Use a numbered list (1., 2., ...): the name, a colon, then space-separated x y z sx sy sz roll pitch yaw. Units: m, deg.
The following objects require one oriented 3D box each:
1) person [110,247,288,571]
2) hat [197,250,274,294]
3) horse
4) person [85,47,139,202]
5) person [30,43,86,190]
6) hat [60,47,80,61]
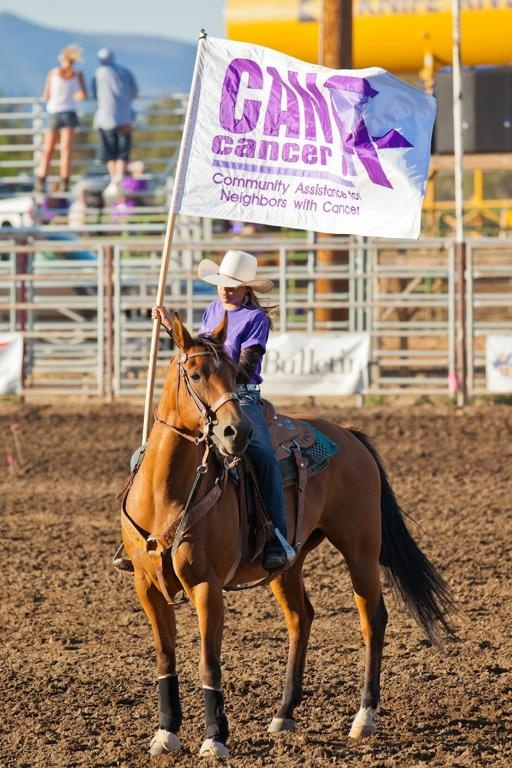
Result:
1. person: -0.149 0.126 8.535 0.604 1.797 0.654 1 11 16
2. hat: -0.108 -0.642 8.582 0.276 0.153 0.305 22 3 6
3. horse: 0.125 0.917 8.629 0.638 2.573 3.313 1 -3 45
4. person: -1.742 -3.310 18.582 0.540 1.868 1.124 -1 9 -4
5. person: -2.171 -2.992 16.472 0.577 1.546 1.301 -2 9 -8
6. hat: -2.021 -3.624 16.154 0.232 0.188 0.218 -3 10 -9
